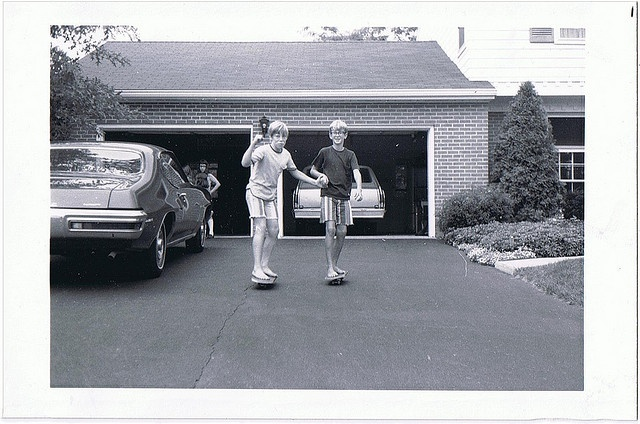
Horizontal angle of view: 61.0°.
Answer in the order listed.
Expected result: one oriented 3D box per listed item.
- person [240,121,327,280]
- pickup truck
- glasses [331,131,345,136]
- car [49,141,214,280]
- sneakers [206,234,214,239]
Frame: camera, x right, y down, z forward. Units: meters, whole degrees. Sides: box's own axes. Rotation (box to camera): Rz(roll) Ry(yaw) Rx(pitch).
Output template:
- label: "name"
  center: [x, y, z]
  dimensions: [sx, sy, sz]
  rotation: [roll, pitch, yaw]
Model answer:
- label: "person"
  center: [-0.656, -0.101, 7.365]
  dimensions: [0.908, 2.222, 0.858]
  rotation: [-5, 12, -26]
- label: "pickup truck"
  center: [0.320, -0.166, 10.164]
  dimensions: [1.431, 1.010, 2.637]
  rotation: [0, 4, 1]
- label: "glasses"
  center: [0.233, -1.055, 7.322]
  dimensions: [0.199, 0.067, 0.097]
  rotation: [1, 12, 6]
- label: "car"
  center: [-2.714, 0.001, 7.649]
  dimensions: [1.504, 1.991, 2.214]
  rotation: [-1, 12, -7]
- label: "sneakers"
  center: [-2.452, 0.542, 11.988]
  dimensions: [0.195, 0.103, 0.126]
  rotation: [-13, -3, 25]
